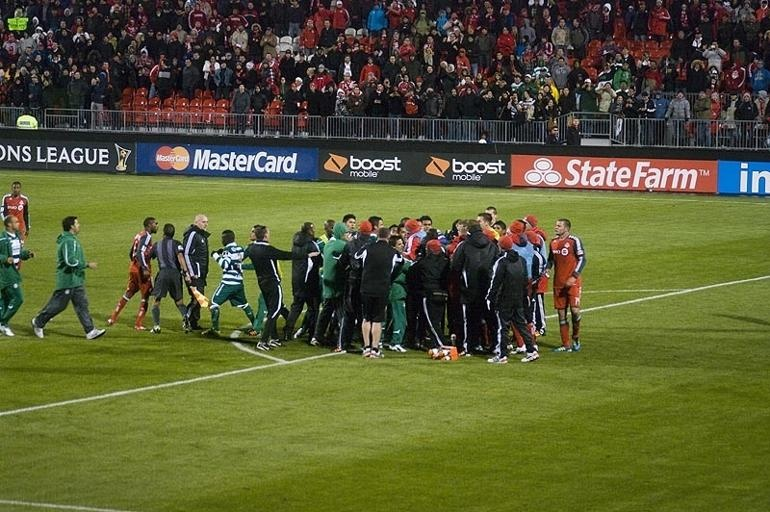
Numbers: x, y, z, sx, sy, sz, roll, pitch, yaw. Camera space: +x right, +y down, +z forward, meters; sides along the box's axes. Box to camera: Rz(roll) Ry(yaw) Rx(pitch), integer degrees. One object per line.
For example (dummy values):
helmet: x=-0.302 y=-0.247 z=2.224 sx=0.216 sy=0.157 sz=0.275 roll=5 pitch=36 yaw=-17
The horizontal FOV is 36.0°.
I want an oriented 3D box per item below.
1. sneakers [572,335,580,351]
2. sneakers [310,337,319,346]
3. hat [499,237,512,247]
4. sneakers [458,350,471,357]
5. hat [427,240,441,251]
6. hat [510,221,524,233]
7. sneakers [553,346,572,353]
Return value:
sneakers: x=4.099 y=1.844 z=25.207 sx=0.130 sy=0.147 sz=0.364 roll=-7 pitch=24 yaw=19
sneakers: x=-1.500 y=1.807 z=25.388 sx=0.205 sy=0.184 sz=0.087 roll=5 pitch=16 yaw=18
hat: x=2.440 y=-0.286 z=23.879 sx=0.245 sy=0.234 sz=0.215 roll=2 pitch=15 yaw=7
sneakers: x=1.704 y=2.018 z=24.825 sx=0.257 sy=0.113 sz=0.334 roll=0 pitch=14 yaw=0
hat: x=1.038 y=-0.230 z=24.480 sx=0.259 sy=0.124 sz=0.188 roll=16 pitch=25 yaw=39
hat: x=2.812 y=-0.629 z=24.996 sx=0.264 sy=0.228 sz=0.415 roll=3 pitch=15 yaw=11
sneakers: x=3.778 y=1.956 z=25.091 sx=0.423 sy=0.144 sz=0.131 roll=3 pitch=5 yaw=5
